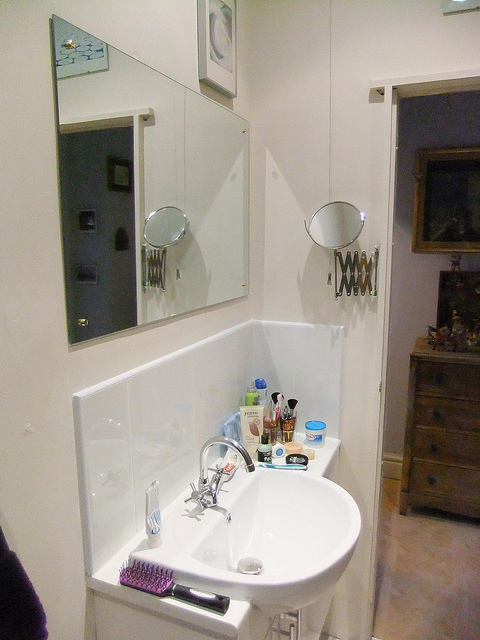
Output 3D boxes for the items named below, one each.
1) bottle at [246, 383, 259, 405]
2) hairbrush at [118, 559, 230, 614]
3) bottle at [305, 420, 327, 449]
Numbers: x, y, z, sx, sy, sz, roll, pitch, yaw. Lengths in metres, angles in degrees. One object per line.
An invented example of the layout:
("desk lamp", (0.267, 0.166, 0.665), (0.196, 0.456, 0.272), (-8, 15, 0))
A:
("bottle", (0.040, 0.242, 1.632), (0.041, 0.067, 0.032), (-7, 10, -40))
("hairbrush", (-0.126, 0.510, 0.959), (0.224, 0.028, 0.059), (3, 9, 17))
("bottle", (0.257, 0.379, 1.695), (0.072, 0.073, 0.107), (1, 9, 10))
